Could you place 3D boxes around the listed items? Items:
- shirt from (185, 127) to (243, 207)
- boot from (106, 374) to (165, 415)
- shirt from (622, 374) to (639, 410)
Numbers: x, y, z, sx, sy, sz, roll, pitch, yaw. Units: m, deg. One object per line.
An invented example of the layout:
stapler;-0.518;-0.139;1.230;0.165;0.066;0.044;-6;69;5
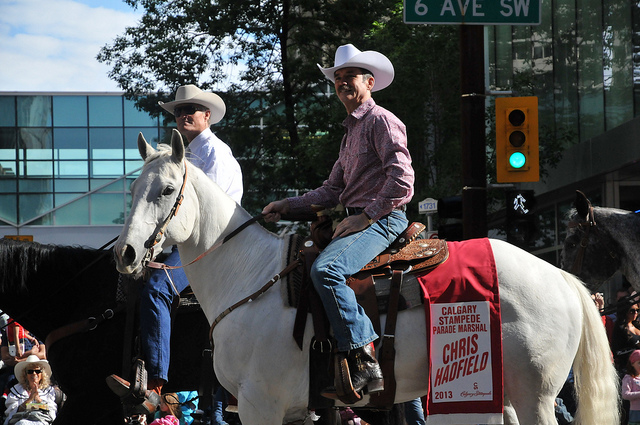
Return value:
shirt;-2.159;-1.211;23.397;1.216;2.144;1.957;-7;-3;-5
boot;-3.458;3.425;22.326;1.082;0.715;0.300;-2;0;-14
shirt;6.698;3.906;25.652;0.347;0.753;0.247;-2;0;16
